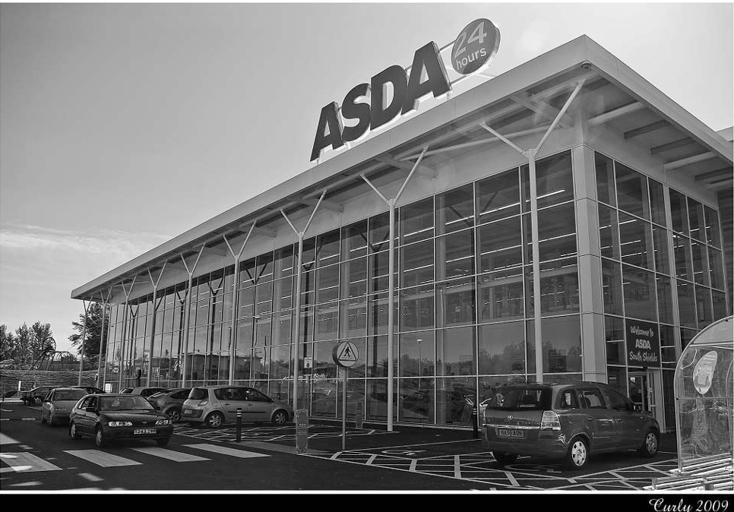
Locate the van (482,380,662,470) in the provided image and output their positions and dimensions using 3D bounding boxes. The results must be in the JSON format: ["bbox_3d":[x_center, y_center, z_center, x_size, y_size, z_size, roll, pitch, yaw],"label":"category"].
[{"bbox_3d":[5.264,4.270,14.661,3.864,1.536,2.240,3,-12,-30],"label":"van"}]
